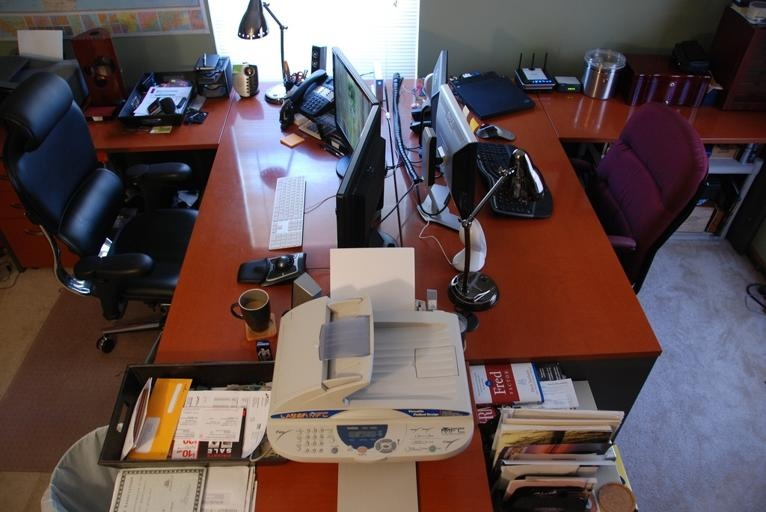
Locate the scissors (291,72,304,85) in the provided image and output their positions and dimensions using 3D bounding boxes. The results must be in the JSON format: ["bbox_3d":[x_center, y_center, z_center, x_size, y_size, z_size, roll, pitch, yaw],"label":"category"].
[{"bbox_3d":[-0.626,-1.308,4.108,0.084,0.040,0.121,2,62,5],"label":"scissors"}]

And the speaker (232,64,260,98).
[{"bbox_3d":[-0.976,-1.263,4.003,0.239,0.257,0.181,-1,52,-5],"label":"speaker"}]

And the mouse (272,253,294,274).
[{"bbox_3d":[-0.532,0.040,3.011,0.115,0.046,0.107,-8,40,-8],"label":"mouse"}]

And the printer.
[{"bbox_3d":[-0.055,0.515,2.361,0.855,0.502,0.504,-2,40,0],"label":"printer"}]

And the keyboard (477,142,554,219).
[{"bbox_3d":[0.780,-0.382,3.443,0.425,0.152,0.664,-2,52,0],"label":"keyboard"}]

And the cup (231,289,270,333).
[{"bbox_3d":[-0.609,0.263,2.832,0.247,0.222,0.160,0,51,-1],"label":"cup"}]
